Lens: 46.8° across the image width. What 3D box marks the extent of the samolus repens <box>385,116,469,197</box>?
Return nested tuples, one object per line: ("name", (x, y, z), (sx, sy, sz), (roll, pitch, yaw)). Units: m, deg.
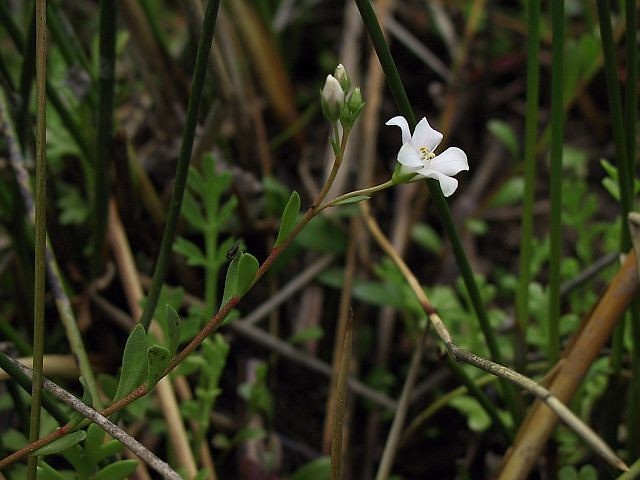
("samolus repens", (0.198, -0.164, 1.341), (0.131, 0.150, 0.134), (-4, 23, 11))
